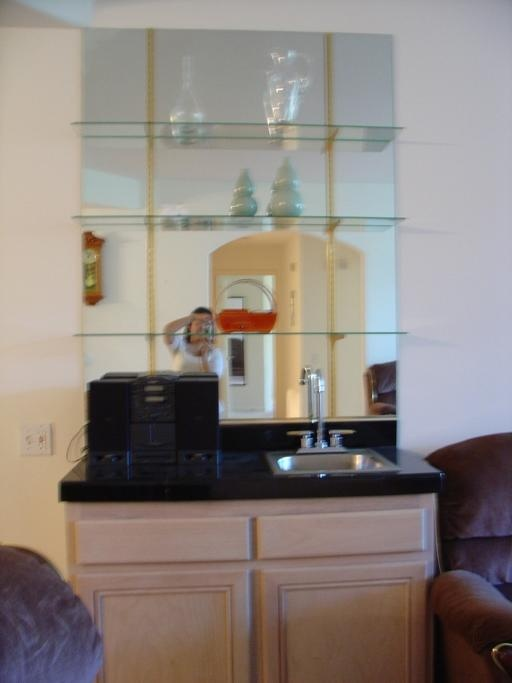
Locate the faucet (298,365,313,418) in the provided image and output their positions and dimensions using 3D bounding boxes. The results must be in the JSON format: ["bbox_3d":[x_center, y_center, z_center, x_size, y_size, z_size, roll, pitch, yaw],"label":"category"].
[{"bbox_3d":[0.201,0.197,3.056,0.043,0.193,0.055,-3,0,-36],"label":"faucet"}]

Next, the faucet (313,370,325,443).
[{"bbox_3d":[0.240,0.254,3.022,0.046,0.277,0.152,-3,0,4],"label":"faucet"}]

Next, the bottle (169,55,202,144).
[{"bbox_3d":[-0.259,-0.919,2.985,0.134,0.329,0.161,-3,0,-3],"label":"bottle"}]
